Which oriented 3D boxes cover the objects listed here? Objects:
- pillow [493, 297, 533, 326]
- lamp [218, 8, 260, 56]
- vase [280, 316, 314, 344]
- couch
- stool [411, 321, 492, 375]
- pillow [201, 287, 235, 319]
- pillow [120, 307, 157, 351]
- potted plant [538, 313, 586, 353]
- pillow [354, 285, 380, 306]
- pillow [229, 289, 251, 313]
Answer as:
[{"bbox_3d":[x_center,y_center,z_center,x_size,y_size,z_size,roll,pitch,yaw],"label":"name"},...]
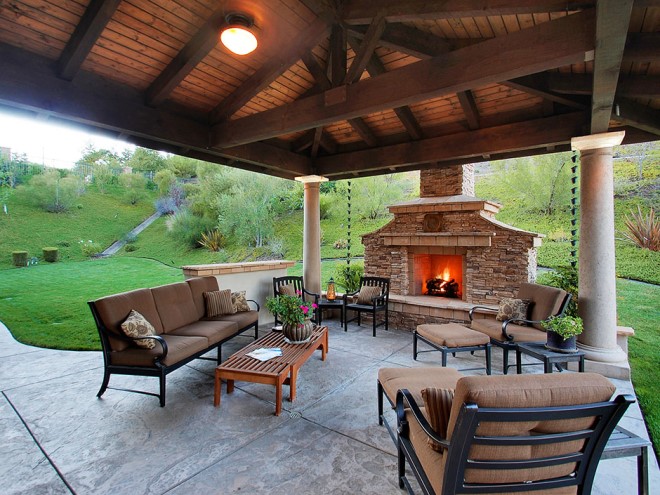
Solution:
[{"bbox_3d":[2.571,0.880,5.623,0.393,0.361,0.185,8,-28,49],"label":"pillow"},{"bbox_3d":[-0.958,-2.200,4.128,0.389,0.292,0.348,11,-39,-29],"label":"lamp"},{"bbox_3d":[-0.421,1.093,5.237,0.392,0.211,0.344,0,-7,2],"label":"vase"},{"bbox_3d":[-1.957,1.099,5.718,1.088,0.971,2.595,7,4,12],"label":"couch"},{"bbox_3d":[1.704,1.487,5.471,0.784,0.440,1.003,1,-3,-13],"label":"stool"},{"bbox_3d":[-1.716,0.867,6.062,0.534,0.369,0.195,-6,9,-39],"label":"pillow"},{"bbox_3d":[-2.255,0.972,4.759,0.394,0.432,0.438,1,-2,-11],"label":"pillow"},{"bbox_3d":[2.832,1.038,4.932,0.572,0.415,0.463,0,-3,-4],"label":"potted plant"},{"bbox_3d":[0.670,0.847,7.120,0.425,0.318,0.117,-3,-39,37],"label":"pillow"},{"bbox_3d":[-1.412,0.856,6.243,0.368,0.280,0.109,-5,-11,-33],"label":"pillow"}]
